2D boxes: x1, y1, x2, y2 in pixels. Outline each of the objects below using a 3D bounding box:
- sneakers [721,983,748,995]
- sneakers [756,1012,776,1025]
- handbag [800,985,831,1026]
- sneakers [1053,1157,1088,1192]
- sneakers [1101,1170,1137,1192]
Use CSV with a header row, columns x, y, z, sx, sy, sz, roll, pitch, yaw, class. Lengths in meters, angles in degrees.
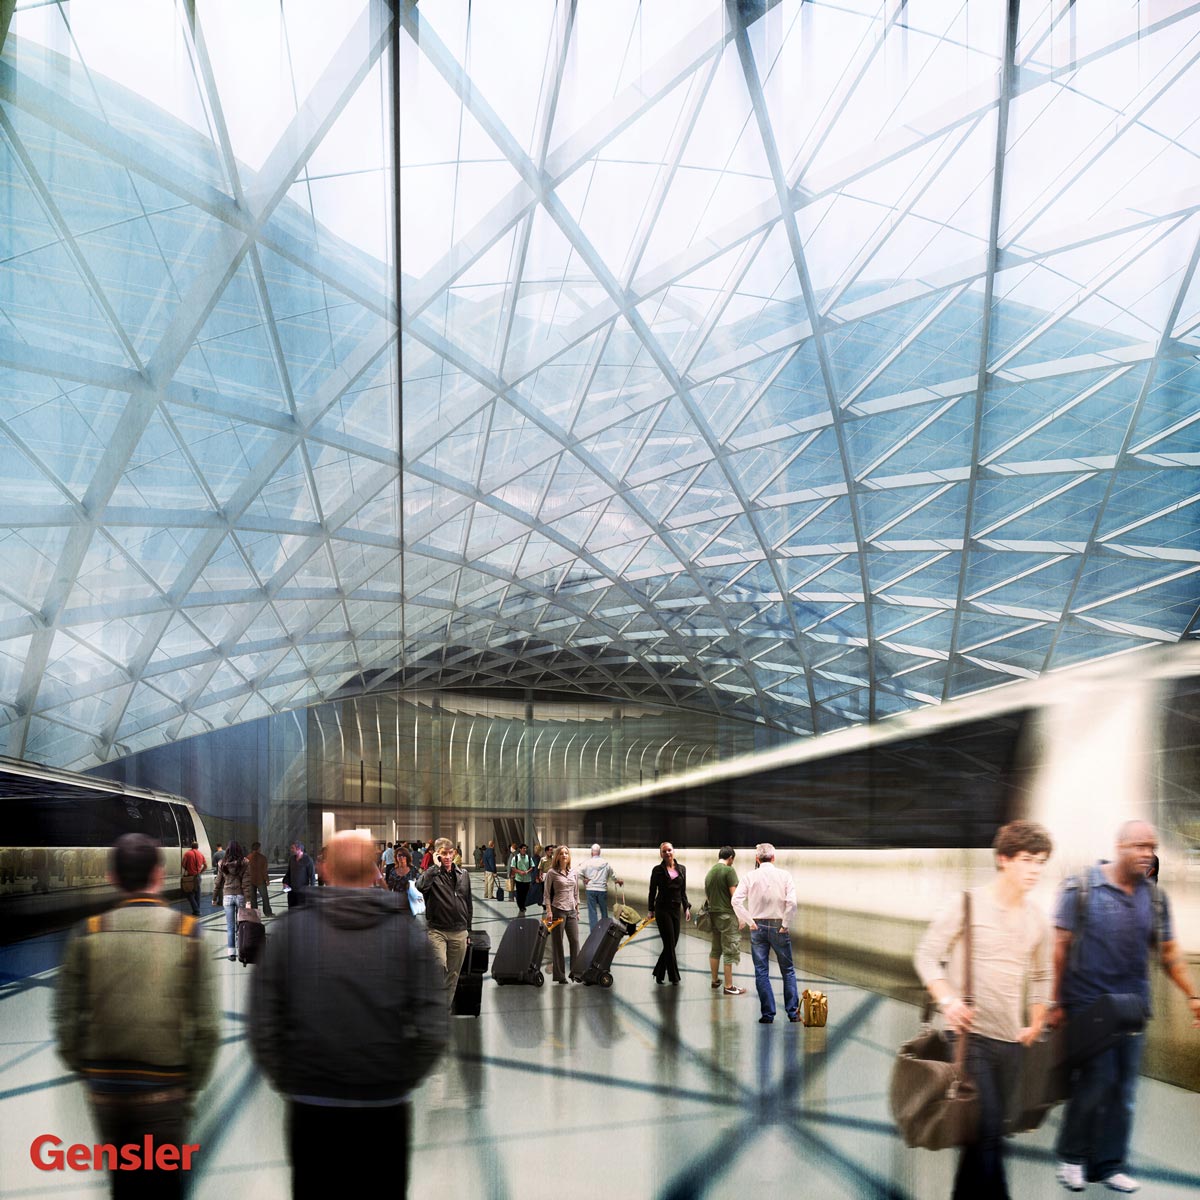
x,y,z,sx,sy,sz,roll,pitch,yaw,class
2.081,6.035,14.471,0.178,0.132,0.462,-6,-27,13,sneakers
2.112,5.264,11.774,0.082,0.148,0.231,2,-3,-21,sneakers
2.634,5.098,11.682,0.397,0.585,0.335,3,-15,-10,handbag
3.131,3.771,6.119,0.169,0.129,0.158,-3,-7,23,sneakers
3.469,3.800,6.100,0.264,0.087,0.119,2,-7,-13,sneakers
